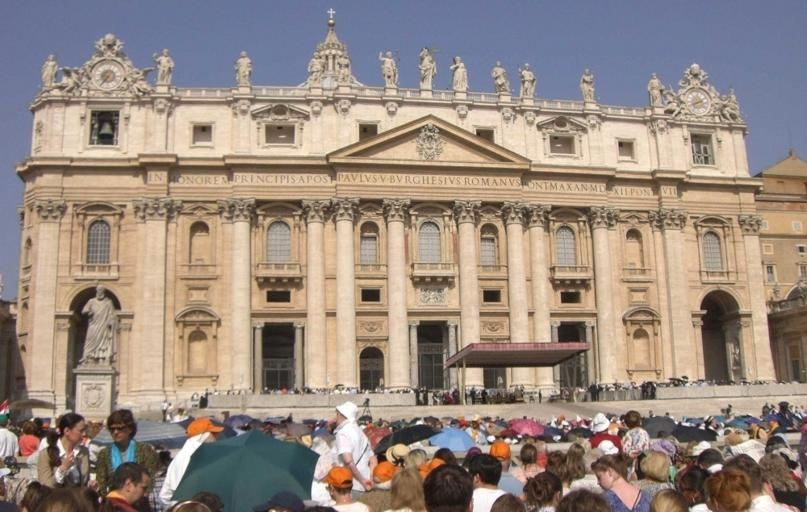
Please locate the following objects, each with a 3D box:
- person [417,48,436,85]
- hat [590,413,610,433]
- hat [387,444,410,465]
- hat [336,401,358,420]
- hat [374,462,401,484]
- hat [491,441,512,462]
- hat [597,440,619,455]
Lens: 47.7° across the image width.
[{"bbox_3d":[1.862,-15.068,73.143,1.160,3.541,0.838,1,-17,-9],"label":"person"},{"bbox_3d":[7.051,5.981,32.997,0.544,0.714,1.161,-6,-16,13],"label":"hat"},{"bbox_3d":[-0.178,5.994,27.755,0.699,0.688,0.194,10,-48,13],"label":"hat"},{"bbox_3d":[-1.743,4.630,27.495,0.593,0.574,0.397,-1,-17,-4],"label":"hat"},{"bbox_3d":[-0.618,6.215,26.466,0.743,0.630,0.493,-7,-17,17],"label":"hat"},{"bbox_3d":[2.796,5.674,26.711,0.559,0.408,0.847,0,1,6],"label":"hat"},{"bbox_3d":[6.187,5.839,27.680,0.602,0.249,0.808,-15,8,2],"label":"hat"}]
